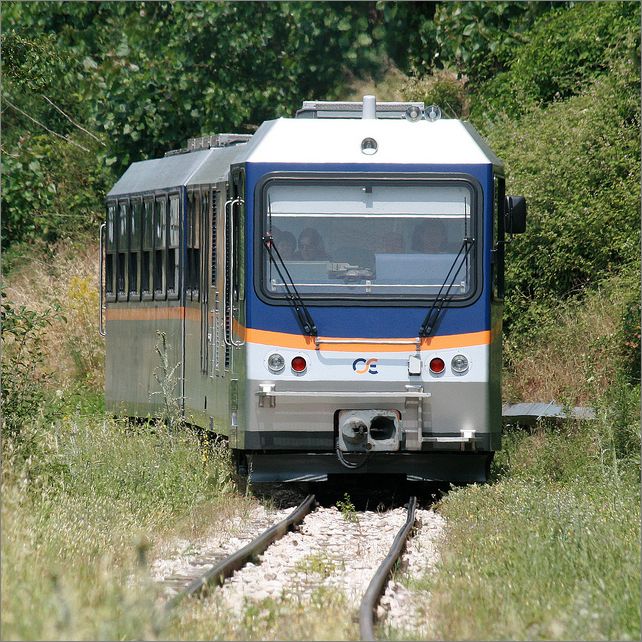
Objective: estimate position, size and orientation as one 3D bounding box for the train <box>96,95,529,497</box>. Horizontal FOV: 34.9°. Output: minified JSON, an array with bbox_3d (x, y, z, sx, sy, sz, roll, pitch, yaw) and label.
[{"bbox_3d":[-0.238,-0.092,11.413,4.645,3.950,3.672,13,79,8],"label":"train"}]
